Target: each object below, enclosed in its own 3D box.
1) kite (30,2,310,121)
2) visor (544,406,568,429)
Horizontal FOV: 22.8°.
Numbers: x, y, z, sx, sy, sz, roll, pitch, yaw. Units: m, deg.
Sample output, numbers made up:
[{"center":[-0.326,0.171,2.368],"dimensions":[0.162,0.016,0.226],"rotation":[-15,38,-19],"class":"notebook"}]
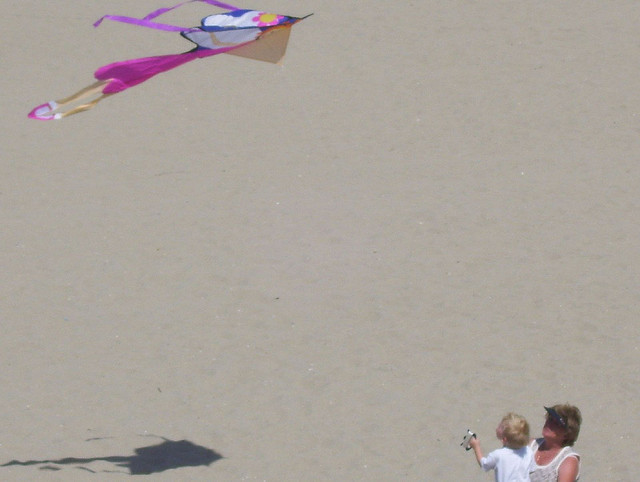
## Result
[{"center":[-1.254,-1.560,13.901],"dimensions":[2.236,0.781,0.517],"rotation":[-6,60,0],"class":"kite"},{"center":[1.889,1.388,12.509],"dimensions":[0.226,0.097,0.040],"rotation":[39,27,30],"class":"visor"}]
